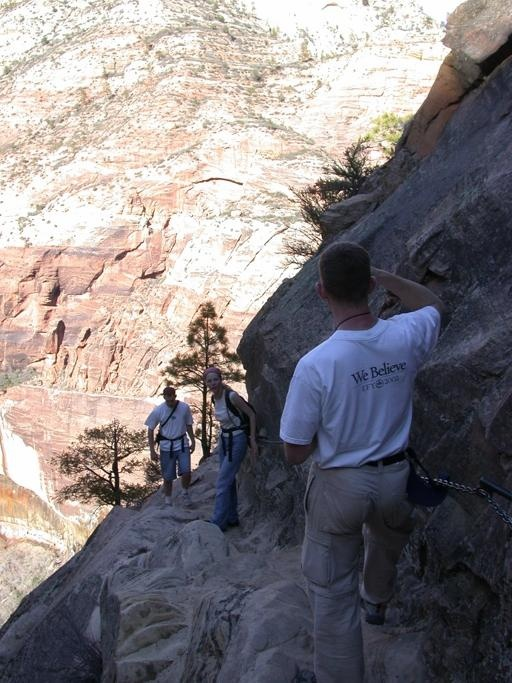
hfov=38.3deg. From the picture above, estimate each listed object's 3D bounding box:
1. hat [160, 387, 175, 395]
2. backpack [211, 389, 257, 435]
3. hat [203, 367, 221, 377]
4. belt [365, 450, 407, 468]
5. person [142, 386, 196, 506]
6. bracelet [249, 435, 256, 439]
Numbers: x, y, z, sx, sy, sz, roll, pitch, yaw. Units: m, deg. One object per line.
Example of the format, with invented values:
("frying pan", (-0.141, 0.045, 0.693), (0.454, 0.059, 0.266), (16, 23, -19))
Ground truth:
("hat", (-0.943, 0.544, 7.909), (0.115, 0.112, 0.123), (0, 9, -7))
("backpack", (-0.291, 0.662, 7.164), (0.500, 0.413, 0.340), (-6, 10, -12))
("hat", (-0.422, 0.291, 7.047), (0.112, 0.067, 0.102), (15, -31, -21))
("belt", (0.594, 0.529, 3.317), (0.250, 0.058, 0.051), (-2, 2, -37))
("person", (-0.934, 1.172, 8.182), (0.514, 1.372, 0.642), (-1, 2, 6))
("bracelet", (-0.037, 0.909, 6.918), (0.050, 0.037, 0.043), (9, -34, 32))
